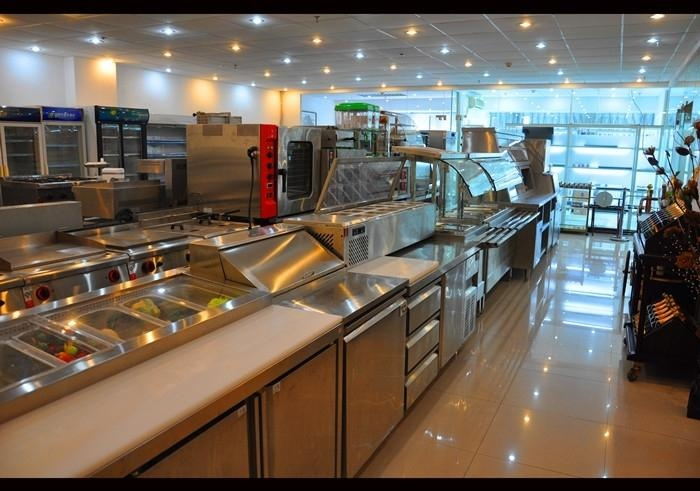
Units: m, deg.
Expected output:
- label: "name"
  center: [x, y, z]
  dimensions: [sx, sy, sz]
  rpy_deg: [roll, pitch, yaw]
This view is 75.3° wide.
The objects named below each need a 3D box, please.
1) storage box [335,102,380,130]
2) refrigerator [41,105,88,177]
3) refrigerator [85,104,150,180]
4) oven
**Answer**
- label: "storage box"
  center: [0.109, -1.884, 6.415]
  dimensions: [0.545, 0.287, 0.499]
  rpy_deg: [0, 12, 2]
- label: "refrigerator"
  center: [-5.217, -1.893, 8.284]
  dimensions: [0.396, 1.219, 0.867]
  rpy_deg: [2, 15, 15]
- label: "refrigerator"
  center: [-4.396, -2.007, 8.733]
  dimensions: [0.341, 1.268, 1.093]
  rpy_deg: [9, 17, 34]
- label: "oven"
  center: [-0.912, -0.936, 5.279]
  dimensions: [1.106, 0.818, 1.646]
  rpy_deg: [8, 17, 23]
